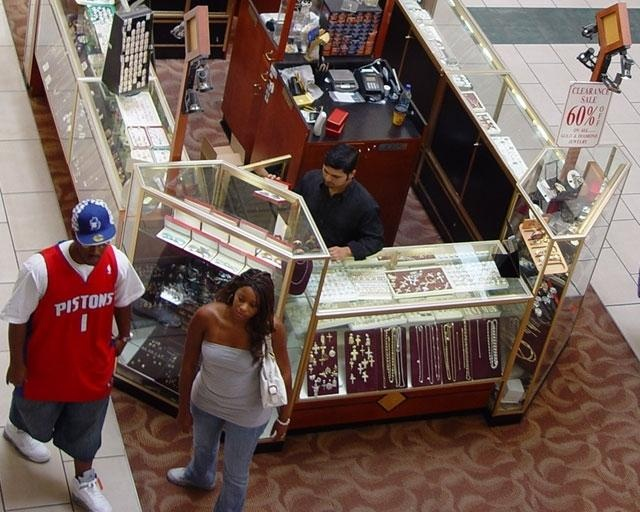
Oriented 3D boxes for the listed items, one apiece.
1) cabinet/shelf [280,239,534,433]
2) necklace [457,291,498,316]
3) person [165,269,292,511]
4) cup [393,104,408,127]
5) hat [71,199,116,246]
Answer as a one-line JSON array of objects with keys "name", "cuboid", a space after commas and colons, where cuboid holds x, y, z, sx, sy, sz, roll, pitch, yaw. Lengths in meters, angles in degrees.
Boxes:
[{"name": "cabinet/shelf", "cuboid": [0.577, 0.518, 3.403, 1.264, 0.970, 0.459, -8, 34, -17]}, {"name": "necklace", "cuboid": [1.150, 0.380, 3.482, 0.219, 0.212, 0.054, -2, 49, 6]}, {"name": "person", "cuboid": [-0.490, 0.869, 2.598, 0.670, 1.777, 0.465, -3, 35, -6]}, {"name": "cup", "cuboid": [0.736, -1.278, 4.470, 0.124, 0.141, 0.126, 2, 48, -3]}, {"name": "hat", "cuboid": [-0.951, -0.129, 2.062, 0.143, 0.087, 0.213, -15, 62, -21]}]
